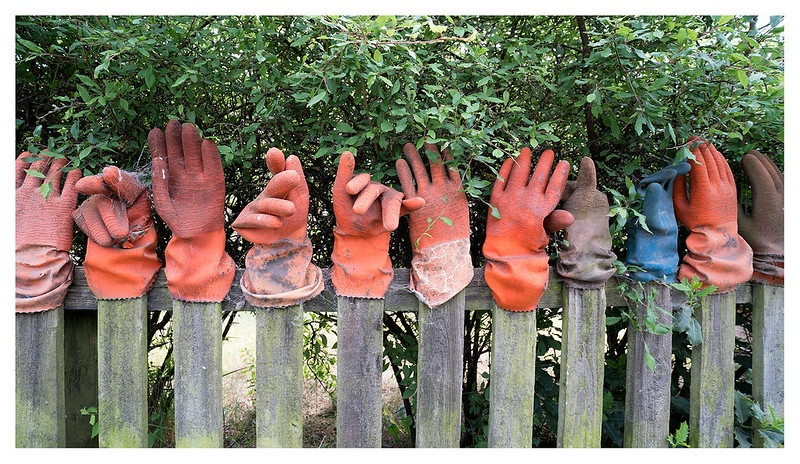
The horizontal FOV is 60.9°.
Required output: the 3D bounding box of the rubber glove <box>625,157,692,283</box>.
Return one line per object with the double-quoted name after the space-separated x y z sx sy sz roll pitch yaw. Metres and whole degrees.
1.472 -0.053 3.855 0.336 0.482 0.170 -1 0 -3 "rubber glove"
